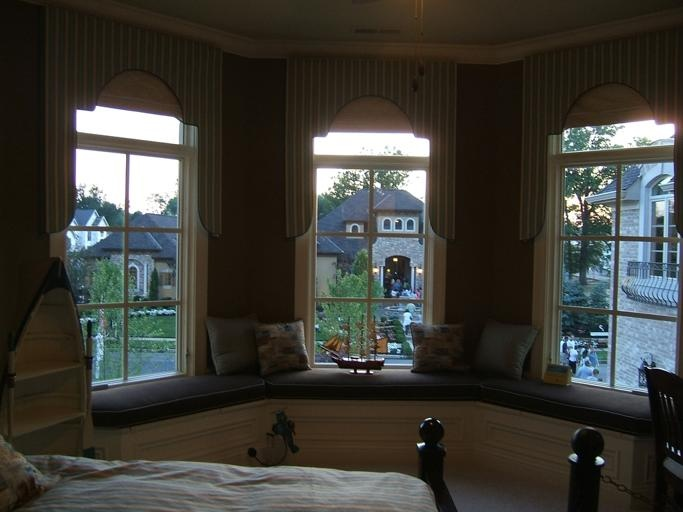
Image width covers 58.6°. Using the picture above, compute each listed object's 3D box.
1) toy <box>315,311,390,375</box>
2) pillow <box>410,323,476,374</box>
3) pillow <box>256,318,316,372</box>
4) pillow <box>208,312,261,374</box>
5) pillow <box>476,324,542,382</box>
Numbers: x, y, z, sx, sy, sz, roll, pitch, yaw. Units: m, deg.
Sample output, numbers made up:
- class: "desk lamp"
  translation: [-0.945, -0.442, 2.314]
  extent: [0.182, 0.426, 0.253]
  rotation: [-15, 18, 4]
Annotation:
- class: "toy"
  translation: [0.110, 0.761, 5.329]
  extent: [0.527, 0.442, 0.496]
  rotation: [0, 4, 3]
- class: "pillow"
  translation: [0.867, 0.807, 5.325]
  extent: [0.513, 0.507, 0.189]
  rotation: [1, -30, 4]
- class: "pillow"
  translation: [-0.501, 0.763, 5.103]
  extent: [0.398, 0.406, 0.120]
  rotation: [2, -18, -28]
- class: "pillow"
  translation: [-0.894, 0.748, 5.163]
  extent: [0.258, 0.475, 0.532]
  rotation: [3, 0, 38]
- class: "pillow"
  translation: [1.391, 0.801, 5.275]
  extent: [0.274, 0.479, 0.506]
  rotation: [13, -8, -43]
